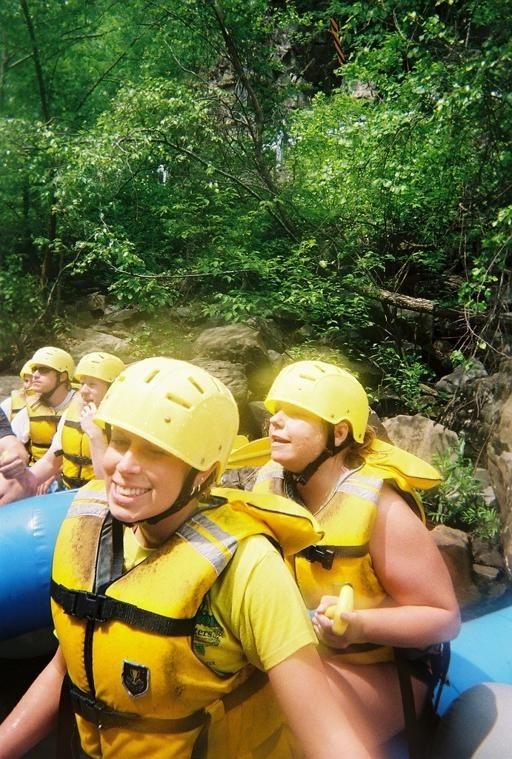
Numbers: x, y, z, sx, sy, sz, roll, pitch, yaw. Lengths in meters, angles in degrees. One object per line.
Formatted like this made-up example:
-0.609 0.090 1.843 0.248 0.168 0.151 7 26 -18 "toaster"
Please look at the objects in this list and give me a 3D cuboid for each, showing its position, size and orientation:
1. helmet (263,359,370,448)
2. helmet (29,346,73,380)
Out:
0.217 0.081 2.436 0.400 0.284 0.308 3 16 -31 "helmet"
-1.631 -0.116 5.098 0.251 0.233 0.317 13 23 41 "helmet"
